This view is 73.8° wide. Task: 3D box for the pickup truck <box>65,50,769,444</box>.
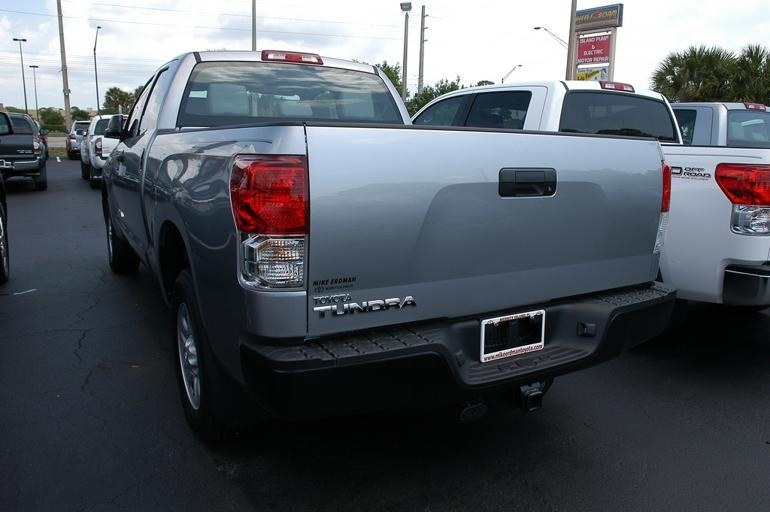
[{"bbox_3d":[-0.907,-0.472,5.057,2.700,1.979,5.694,-3,12,-28],"label":"pickup truck"}]
